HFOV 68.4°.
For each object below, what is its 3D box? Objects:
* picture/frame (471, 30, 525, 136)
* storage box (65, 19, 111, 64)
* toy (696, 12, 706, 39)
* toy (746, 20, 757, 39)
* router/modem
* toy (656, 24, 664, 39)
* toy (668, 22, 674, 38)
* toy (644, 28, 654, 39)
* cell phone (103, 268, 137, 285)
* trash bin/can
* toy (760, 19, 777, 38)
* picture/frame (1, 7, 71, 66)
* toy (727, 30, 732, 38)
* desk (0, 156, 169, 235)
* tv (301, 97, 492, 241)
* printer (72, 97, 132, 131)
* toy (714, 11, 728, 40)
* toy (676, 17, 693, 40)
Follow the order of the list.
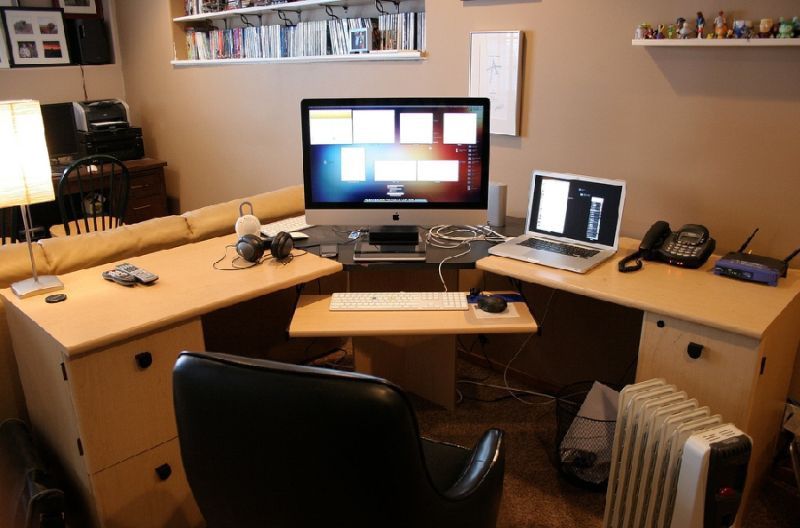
[{"bbox_3d":[0.577,-1.114,3.581,0.356,0.577,0.078,18,26,40],"label":"picture/frame"},{"bbox_3d":[-3.056,-2.269,5.882,0.297,0.417,0.233,-12,32,-26],"label":"storage box"},{"bbox_3d":[1.480,-1.188,2.896,0.045,0.123,0.072,7,21,20],"label":"toy"},{"bbox_3d":[1.647,-1.109,2.773,0.045,0.077,0.082,4,16,25],"label":"toy"},{"bbox_3d":[1.725,-0.077,2.812,0.213,0.119,0.388,15,30,42],"label":"router/modem"},{"bbox_3d":[1.314,-1.181,2.969,0.044,0.074,0.155,8,21,21],"label":"toy"},{"bbox_3d":[1.368,-1.183,2.961,0.038,0.068,0.088,7,21,20],"label":"toy"},{"bbox_3d":[1.272,-1.185,2.991,0.037,0.049,0.066,19,27,41],"label":"toy"},{"bbox_3d":[-1.363,0.048,2.869,0.177,0.044,0.076,20,32,25],"label":"cell phone"},{"bbox_3d":[0.993,0.906,3.155,0.323,0.515,0.346,7,-11,41],"label":"trash bin/can"},{"bbox_3d":[1.703,-1.099,2.731,0.058,0.089,0.020,4,12,9],"label":"toy"},{"bbox_3d":[-3.439,-2.158,5.518,0.020,0.582,0.577,18,25,39],"label":"picture/frame"},{"bbox_3d":[1.586,-1.114,2.826,0.026,0.036,0.030,9,21,22],"label":"toy"},{"bbox_3d":[-2.398,-0.510,4.453,0.253,0.540,0.727,25,36,33],"label":"desk"},{"bbox_3d":[-0.014,-0.526,3.093,0.757,0.555,0.218,0,20,2],"label":"tv"},{"bbox_3d":[-2.854,-1.458,5.666,0.335,0.299,0.485,20,29,36],"label":"printer"},{"bbox_3d":[1.548,-1.159,2.835,0.063,0.129,0.098,10,22,25],"label":"toy"},{"bbox_3d":[1.403,-1.175,2.906,0.072,0.100,0.091,-9,22,-23],"label":"toy"}]
